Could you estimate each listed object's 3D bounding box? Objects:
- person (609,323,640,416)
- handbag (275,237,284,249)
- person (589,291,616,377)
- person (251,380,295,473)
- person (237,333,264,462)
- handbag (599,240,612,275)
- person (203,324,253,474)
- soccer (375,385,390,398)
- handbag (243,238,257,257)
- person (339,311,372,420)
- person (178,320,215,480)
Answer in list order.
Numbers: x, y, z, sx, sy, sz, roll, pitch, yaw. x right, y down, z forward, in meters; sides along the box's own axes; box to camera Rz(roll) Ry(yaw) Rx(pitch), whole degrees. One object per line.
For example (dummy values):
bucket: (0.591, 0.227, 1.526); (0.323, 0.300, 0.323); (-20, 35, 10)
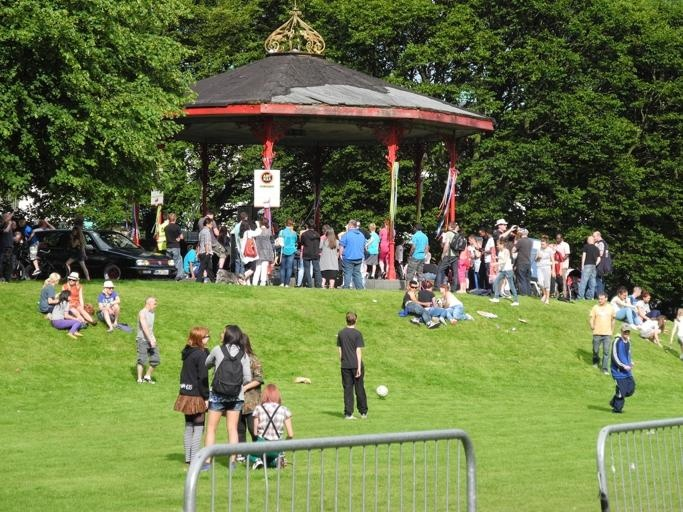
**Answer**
person: (7.963, 3.198, 42.006); (0.630, 2.451, 0.800); (4, 6, 2)
handbag: (-2.035, -0.466, 48.959); (0.255, 0.365, 0.108); (0, 4, 14)
person: (8.136, 2.379, 46.118); (0.898, 2.499, 0.908); (0, 7, 10)
person: (-1.732, 4.047, 36.223); (0.880, 1.652, 0.893); (1, 3, -19)
person: (-2.359, 3.328, 37.163); (0.717, 2.603, 0.641); (-2, 5, -26)
handbag: (9.339, 0.009, 52.527); (0.472, 1.206, 1.956); (0, 0, 9)
person: (-2.811, 3.149, 36.695); (1.041, 2.880, 1.211); (0, 0, 0)
soccer: (1.156, 3.913, 42.765); (0.317, 0.256, 0.325); (1, 3, 10)
handbag: (-3.031, -0.325, 49.004); (0.424, 0.631, 0.271); (0, 0, -6)
person: (0.315, 2.949, 40.590); (0.846, 2.856, 0.845); (2, 4, 14)
person: (-3.665, 3.565, 36.818); (1.106, 3.652, 1.242); (1, 2, -21)
